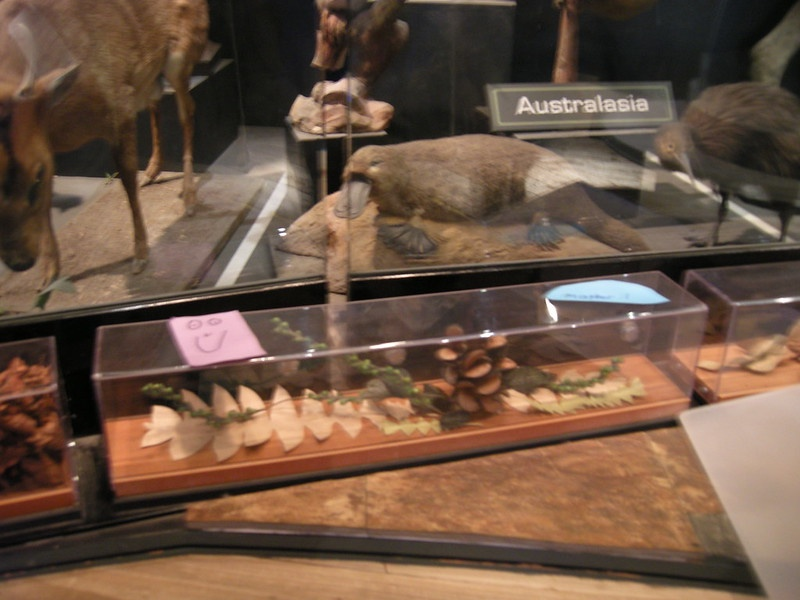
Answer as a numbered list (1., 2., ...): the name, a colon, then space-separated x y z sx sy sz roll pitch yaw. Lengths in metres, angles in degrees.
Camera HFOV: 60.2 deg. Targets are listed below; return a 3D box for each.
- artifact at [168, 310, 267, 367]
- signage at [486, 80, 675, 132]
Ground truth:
1. artifact: -0.406 0.066 1.531 0.175 0.043 0.177 -11 31 -20
2. signage: 0.422 -0.517 1.648 0.538 0.105 0.062 -9 14 -22
